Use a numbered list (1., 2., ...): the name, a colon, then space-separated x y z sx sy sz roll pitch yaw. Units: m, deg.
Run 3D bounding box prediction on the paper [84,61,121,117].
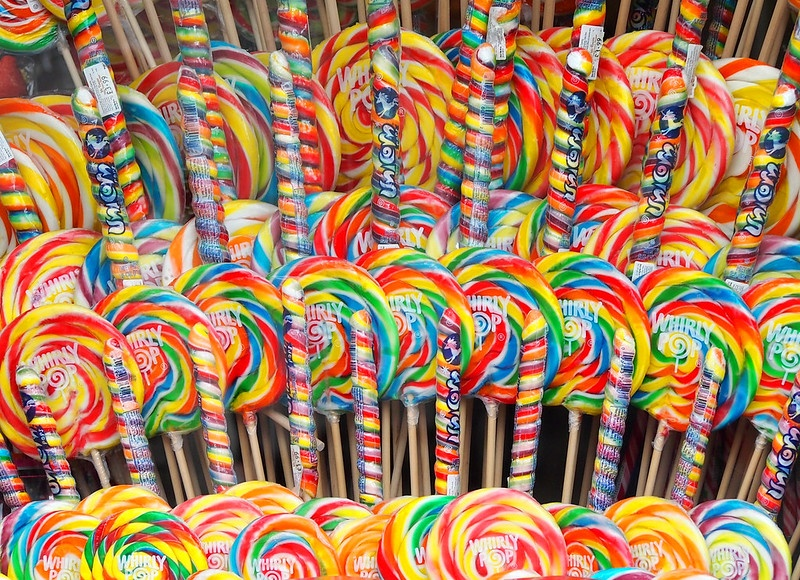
1. paper: -0.698 -0.468 1.815 0.069 0.030 0.130 -16 -72 -14
